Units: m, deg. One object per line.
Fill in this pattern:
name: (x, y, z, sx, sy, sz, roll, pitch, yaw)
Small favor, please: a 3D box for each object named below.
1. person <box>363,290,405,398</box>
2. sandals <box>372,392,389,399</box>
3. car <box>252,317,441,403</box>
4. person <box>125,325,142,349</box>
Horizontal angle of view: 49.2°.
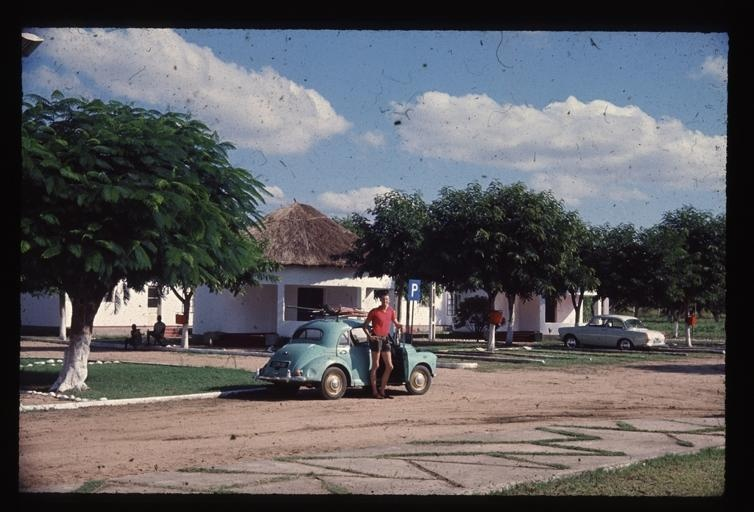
person: (0.049, 1.936, 17.953, 0.747, 2.381, 1.181, 2, -7, -1)
sandals: (0.055, 3.109, 18.094, 0.418, 0.187, 0.136, -7, -10, 25)
car: (-0.788, 2.323, 18.195, 2.765, 1.336, 1.920, 0, -2, -29)
person: (-10.288, 3.436, 34.738, 0.662, 1.062, 2.237, 4, -8, -17)
